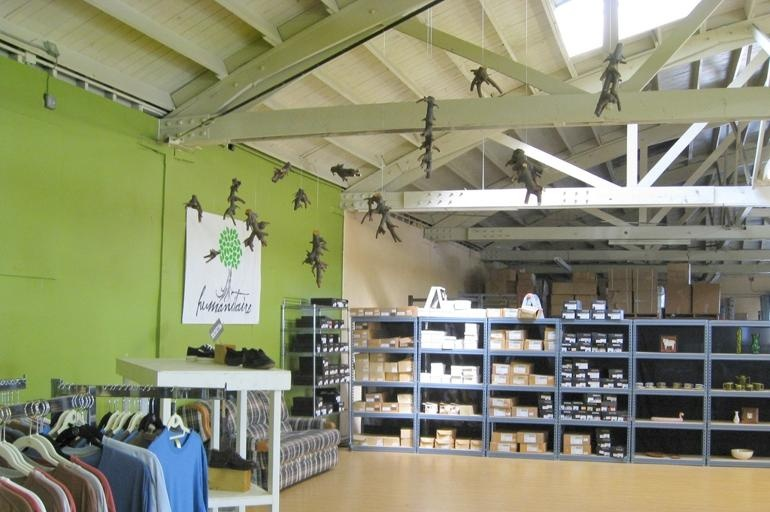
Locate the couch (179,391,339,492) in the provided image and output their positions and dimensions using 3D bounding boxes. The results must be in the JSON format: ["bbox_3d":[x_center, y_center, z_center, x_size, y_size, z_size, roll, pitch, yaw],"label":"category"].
[{"bbox_3d":[-1.459,2.250,9.359,1.303,1.189,2.531,-3,-11,22],"label":"couch"}]

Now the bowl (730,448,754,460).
[{"bbox_3d":[4.739,2.647,10.254,0.187,0.087,0.185,2,-11,0],"label":"bowl"}]

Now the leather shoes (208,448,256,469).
[{"bbox_3d":[-1.283,1.691,6.432,0.456,0.176,0.147,1,-6,3],"label":"leather shoes"}]
